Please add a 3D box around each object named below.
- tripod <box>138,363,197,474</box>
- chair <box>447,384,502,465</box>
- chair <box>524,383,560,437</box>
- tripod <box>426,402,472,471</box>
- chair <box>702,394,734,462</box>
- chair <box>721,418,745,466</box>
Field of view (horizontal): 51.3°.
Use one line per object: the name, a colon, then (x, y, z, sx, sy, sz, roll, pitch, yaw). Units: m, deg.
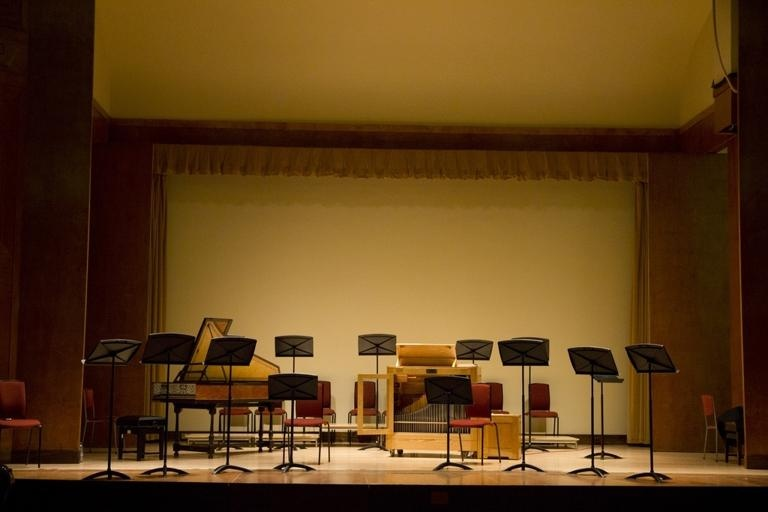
tripod: (-2.852, 2.120, 10.512, 0.535, 1.450, 2.499, 4, -14, -15)
chair: (1.300, 2.293, 10.922, 0.512, 1.009, 0.559, 0, -11, 3)
chair: (2.471, 2.420, 12.512, 0.433, 0.815, 0.478, -1, -4, 3)
tripod: (0.879, 2.312, 10.283, 0.472, 0.856, 1.352, 0, -14, 4)
chair: (4.789, 2.457, 11.521, 0.283, 0.850, 0.347, 5, -8, -26)
chair: (4.808, 2.529, 11.117, 0.239, 0.375, 0.268, -9, -15, 4)
